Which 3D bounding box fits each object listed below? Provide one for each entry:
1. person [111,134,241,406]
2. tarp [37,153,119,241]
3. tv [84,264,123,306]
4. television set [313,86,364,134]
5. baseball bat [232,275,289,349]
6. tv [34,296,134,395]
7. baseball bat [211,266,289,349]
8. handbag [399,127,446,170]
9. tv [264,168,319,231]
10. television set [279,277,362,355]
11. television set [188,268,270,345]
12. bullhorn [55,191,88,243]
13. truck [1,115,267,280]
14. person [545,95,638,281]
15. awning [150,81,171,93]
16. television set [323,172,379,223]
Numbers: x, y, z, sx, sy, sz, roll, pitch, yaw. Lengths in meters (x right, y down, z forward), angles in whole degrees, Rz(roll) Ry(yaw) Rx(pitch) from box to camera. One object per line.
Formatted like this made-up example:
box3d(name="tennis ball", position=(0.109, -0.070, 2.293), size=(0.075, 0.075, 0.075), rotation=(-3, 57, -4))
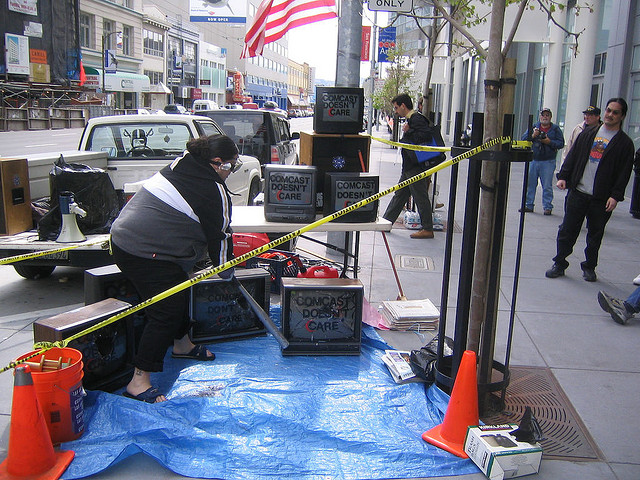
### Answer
box3d(name="person", position=(-1.144, 0.191, 4.116), size=(1.013, 2.008, 1.133), rotation=(-3, 15, -15))
box3d(name="tarp", position=(-2.811, -0.509, 6.098), size=(0.829, 1.232, 0.873), rotation=(-1, 21, -19))
box3d(name="tv", position=(-1.868, 0.401, 4.411), size=(0.206, 0.362, 0.392), rotation=(4, 11, 35))
box3d(name="television set", position=(0.195, -1.323, 5.163), size=(0.504, 0.466, 0.246), rotation=(1, 14, 0))
box3d(name="baseball bat", position=(-0.582, 0.709, 4.863), size=(0.093, 0.098, 0.898), rotation=(-34, 62, -1))
box3d(name="tv", position=(-1.751, 0.830, 3.853), size=(0.299, 0.544, 0.568), rotation=(9, 20, 29))
box3d(name="baseball bat", position=(-0.684, 0.670, 4.839), size=(0.108, 0.113, 1.025), rotation=(-35, 67, -9))
box3d(name="handbag", position=(1.850, -1.574, 8.710), size=(1.054, 0.701, 0.629), rotation=(-11, 19, -40))
box3d(name="tv", position=(-0.269, -0.430, 5.048), size=(0.521, 0.578, 0.573), rotation=(1, 5, -1))
box3d(name="television set", position=(0.001, 0.699, 4.868), size=(0.763, 0.700, 0.449), rotation=(1, 5, -4))
box3d(name="television set", position=(-0.912, 0.659, 5.081), size=(0.812, 0.684, 0.451), rotation=(-1, 0, -15))
box3d(name="bullhorn", position=(-2.783, -0.245, 5.633), size=(0.260, 0.543, 0.281), rotation=(8, 15, 25))
box3d(name="truck", position=(-2.737, -0.704, 6.808), size=(1.893, 1.558, 3.495), rotation=(7, 17, 24))
box3d(name="person", position=(3.625, -0.653, 6.802), size=(0.850, 2.411, 0.716), rotation=(8, 15, 26))
box3d(name="awning", position=(-16.823, -15.981, 53.481), size=(1.627, 0.866, 1.651), rotation=(14, 23, 31))
box3d(name="television set", position=(0.293, -0.404, 4.814), size=(0.518, 0.436, 0.346), rotation=(1, 14, 0))
